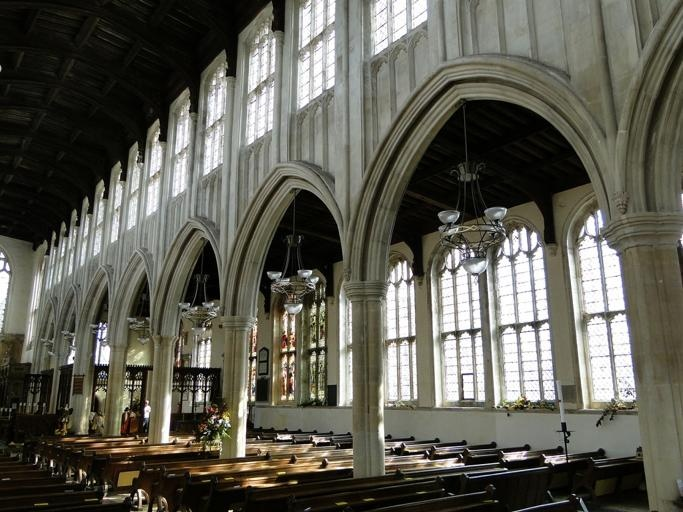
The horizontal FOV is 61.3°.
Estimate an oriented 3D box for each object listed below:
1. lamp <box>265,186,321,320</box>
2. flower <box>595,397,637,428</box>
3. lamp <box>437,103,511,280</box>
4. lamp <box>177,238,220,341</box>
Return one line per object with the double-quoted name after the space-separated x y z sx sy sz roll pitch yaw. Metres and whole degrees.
-1.189 -0.159 14.478 1.080 2.869 1.101 -8 24 -27 "lamp"
6.746 3.885 14.252 1.008 0.656 0.718 -16 -21 35 "flower"
2.638 -1.572 11.892 1.344 3.841 1.403 -3 -14 8 "lamp"
-4.131 0.895 17.123 1.031 2.531 1.081 0 -5 21 "lamp"
